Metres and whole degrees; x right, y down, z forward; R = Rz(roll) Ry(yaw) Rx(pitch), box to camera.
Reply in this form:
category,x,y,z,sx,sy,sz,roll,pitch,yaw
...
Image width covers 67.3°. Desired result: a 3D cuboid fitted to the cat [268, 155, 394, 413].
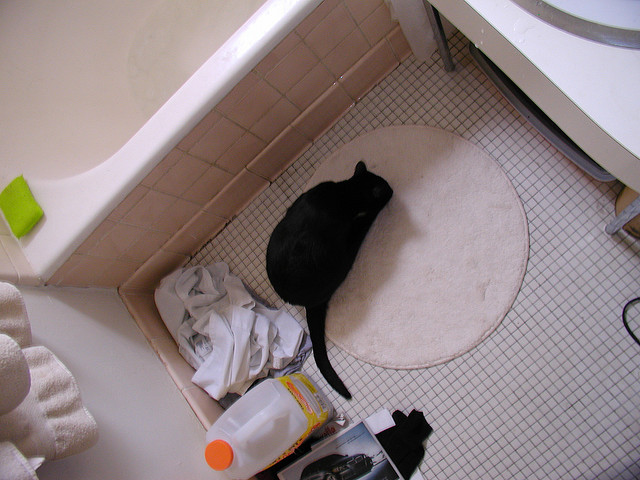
category,x,y,z,sx,sy,sz,roll,pitch,yaw
cat,0.008,0.067,1.472,0.272,0.839,0.549,-3,54,-13

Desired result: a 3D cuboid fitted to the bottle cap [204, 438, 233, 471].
category,x,y,z,sx,sy,sz,roll,pitch,yaw
bottle cap,-0.252,0.531,1.201,0.067,0.044,0.072,7,85,7
